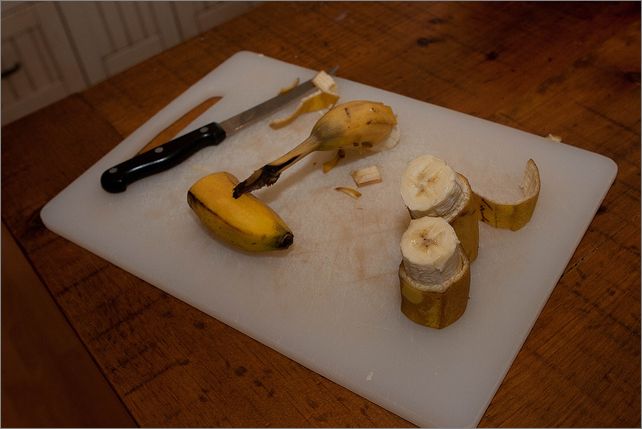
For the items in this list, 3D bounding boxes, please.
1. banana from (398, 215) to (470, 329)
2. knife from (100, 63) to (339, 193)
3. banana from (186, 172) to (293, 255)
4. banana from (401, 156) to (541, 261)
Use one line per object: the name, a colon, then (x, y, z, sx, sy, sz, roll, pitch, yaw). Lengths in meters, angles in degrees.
banana: (0.212, 0.114, 1.026, 0.133, 0.200, 0.126, -3, 44, 12)
knife: (-0.242, -0.206, 1.335, 0.634, 0.058, 0.088, -29, 50, -23)
banana: (-0.178, 0.004, 1.154, 0.273, 0.110, 0.131, 32, 49, 32)
banana: (0.325, -0.041, 1.043, 0.245, 0.191, 0.142, -14, 48, 30)
